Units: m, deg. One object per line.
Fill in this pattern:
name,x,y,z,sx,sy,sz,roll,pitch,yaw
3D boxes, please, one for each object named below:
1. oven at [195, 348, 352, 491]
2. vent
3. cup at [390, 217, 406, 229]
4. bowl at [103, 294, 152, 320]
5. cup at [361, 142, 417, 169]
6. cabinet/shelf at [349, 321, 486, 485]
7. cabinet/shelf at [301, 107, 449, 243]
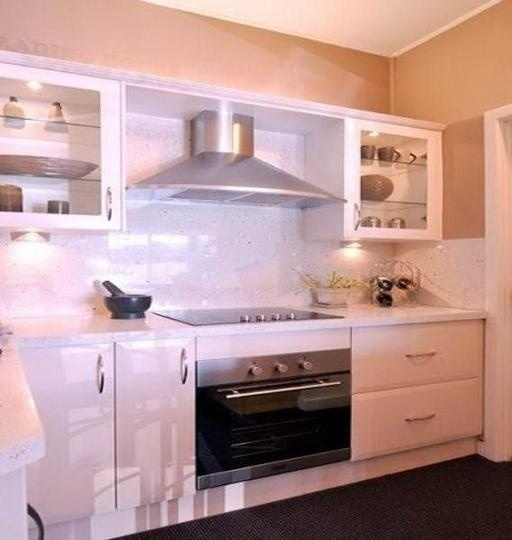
oven,-0.063,0.661,2.403,0.885,0.501,0.535,4,-11,-37
vent,-0.124,-0.575,2.504,0.989,0.448,0.537,-2,4,-17
cup,0.791,-0.266,2.879,0.085,0.063,0.074,-1,2,-17
bowl,-0.572,0.164,2.273,0.203,0.110,0.107,-1,4,-4
cup,0.745,-0.640,2.854,0.305,0.077,0.122,1,1,-22
cabinet/shelf,0.680,0.609,2.751,1.032,0.671,0.537,2,-5,-30
cabinet/shelf,0.681,-0.470,3.013,0.875,0.595,0.341,-6,8,-40
